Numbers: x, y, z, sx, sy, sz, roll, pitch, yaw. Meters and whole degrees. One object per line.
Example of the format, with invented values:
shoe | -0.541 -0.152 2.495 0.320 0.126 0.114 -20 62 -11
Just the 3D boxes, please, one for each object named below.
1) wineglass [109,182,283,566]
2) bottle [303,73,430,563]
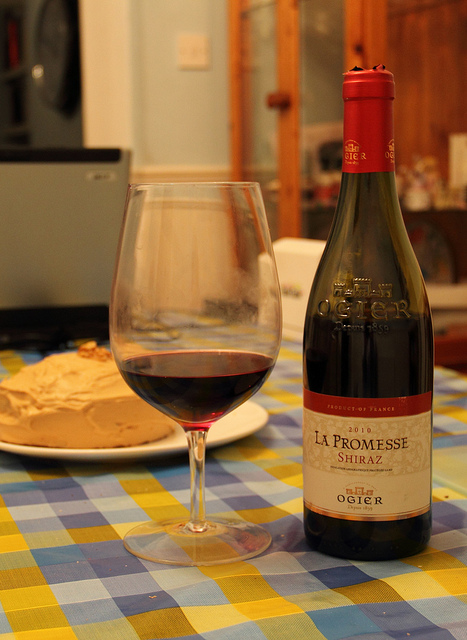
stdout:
wineglass | -0.026 0.031 0.367 0.109 0.200 0.099 -4 0 -1
bottle | 0.073 0.024 0.341 0.070 0.210 0.063 0 2 15
